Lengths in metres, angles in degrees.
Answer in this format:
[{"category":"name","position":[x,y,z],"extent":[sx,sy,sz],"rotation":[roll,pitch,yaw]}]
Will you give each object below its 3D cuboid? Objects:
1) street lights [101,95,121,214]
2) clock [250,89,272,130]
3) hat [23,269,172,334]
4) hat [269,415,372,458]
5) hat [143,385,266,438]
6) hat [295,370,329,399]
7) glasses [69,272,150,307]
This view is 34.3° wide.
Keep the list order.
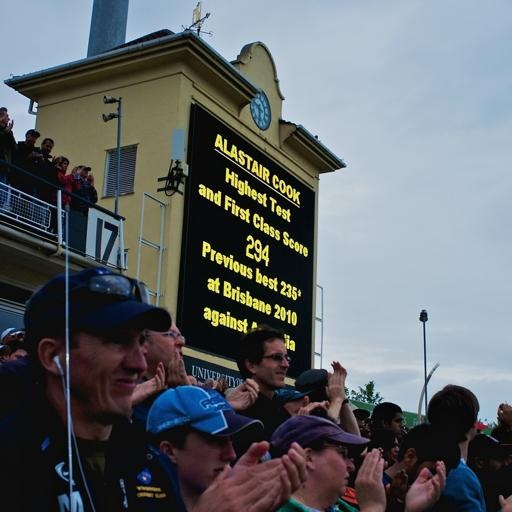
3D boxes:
[{"category":"street lights","position":[-2.346,-1.574,13.276],"extent":[0.319,1.941,0.228],"rotation":[1,4,-28]},{"category":"clock","position":[0.049,-2.915,16.492],"extent":[0.007,0.764,0.686],"rotation":[-17,28,-32]},{"category":"hat","position":[-1.000,0.291,5.103],"extent":[0.883,0.415,0.684],"rotation":[-1,-6,30]},{"category":"hat","position":[0.457,1.243,5.876],"extent":[0.663,0.300,0.472],"rotation":[2,-18,4]},{"category":"hat","position":[-0.354,1.026,5.389],"extent":[0.763,0.325,0.534],"rotation":[-4,-15,19]},{"category":"hat","position":[0.532,1.186,7.760],"extent":[0.426,0.202,0.516],"rotation":[-1,-5,11]},{"category":"glasses","position":[-0.894,0.237,4.965],"extent":[0.272,0.150,0.228],"rotation":[4,-5,5]}]
